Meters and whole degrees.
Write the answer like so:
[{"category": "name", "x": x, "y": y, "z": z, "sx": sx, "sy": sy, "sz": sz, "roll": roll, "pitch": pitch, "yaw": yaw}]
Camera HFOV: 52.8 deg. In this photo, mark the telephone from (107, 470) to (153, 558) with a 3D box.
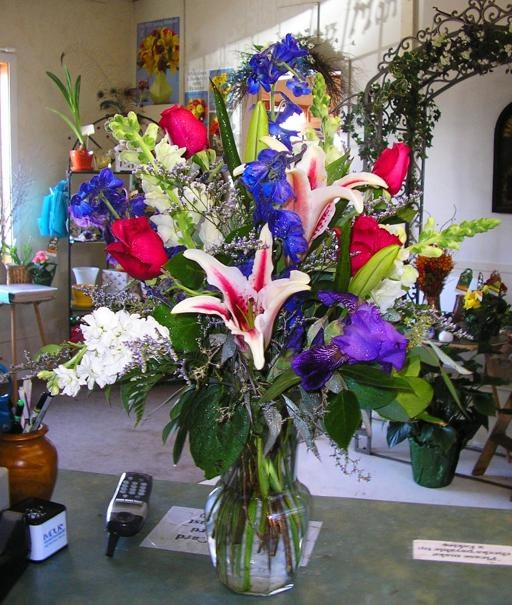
[{"category": "telephone", "x": -0.244, "y": 0.395, "z": 0.984, "sx": 0.068, "sy": 0.035, "sz": 0.285, "roll": 10, "pitch": 3, "yaw": -7}]
